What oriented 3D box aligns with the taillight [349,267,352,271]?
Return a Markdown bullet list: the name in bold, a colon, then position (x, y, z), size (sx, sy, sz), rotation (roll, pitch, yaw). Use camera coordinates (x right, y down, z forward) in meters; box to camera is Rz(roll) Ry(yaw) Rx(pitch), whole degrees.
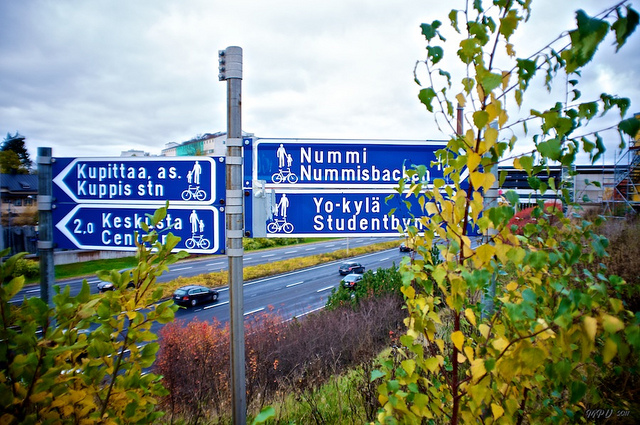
- **taillight**: position (1.501, 2.776, 22.647), size (0.121, 0.139, 0.071), rotation (0, -10, 0)
